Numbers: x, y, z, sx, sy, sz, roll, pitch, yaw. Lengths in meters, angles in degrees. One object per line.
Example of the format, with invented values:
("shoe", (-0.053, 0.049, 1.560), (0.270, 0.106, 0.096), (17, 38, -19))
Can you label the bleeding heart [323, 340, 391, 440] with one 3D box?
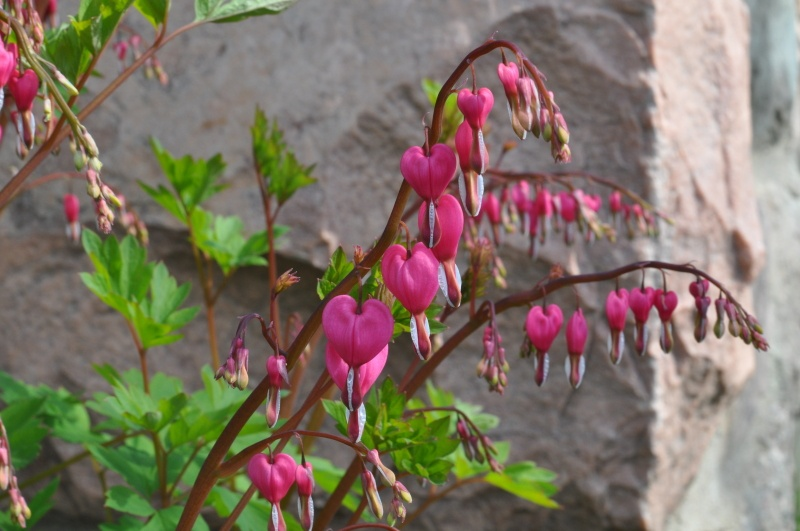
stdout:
("bleeding heart", (-0.125, 0.270, 3.857), (0.171, 0.278, 0.152), (8, 10, 17))

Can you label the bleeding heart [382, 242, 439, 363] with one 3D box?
("bleeding heart", (0.042, 0.085, 3.901), (0.141, 0.292, 0.198), (-21, 31, -32))

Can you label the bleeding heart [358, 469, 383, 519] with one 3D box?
("bleeding heart", (-0.079, 0.651, 3.975), (0.058, 0.043, 0.189), (6, 59, -34))

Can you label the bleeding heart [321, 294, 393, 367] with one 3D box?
("bleeding heart", (-0.121, 0.177, 3.855), (0.162, 0.205, 0.201), (3, 26, 2))
